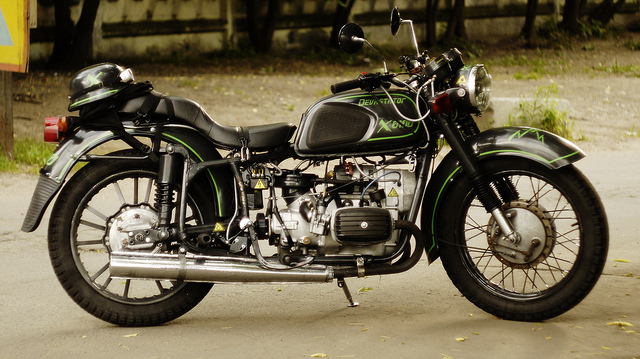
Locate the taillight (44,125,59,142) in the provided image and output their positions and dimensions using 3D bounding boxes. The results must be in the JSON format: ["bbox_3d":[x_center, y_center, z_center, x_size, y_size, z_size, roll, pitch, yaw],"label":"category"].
[{"bbox_3d":[-3.302,-0.565,9.507,0.195,0.207,0.096,-1,2,4],"label":"taillight"}]

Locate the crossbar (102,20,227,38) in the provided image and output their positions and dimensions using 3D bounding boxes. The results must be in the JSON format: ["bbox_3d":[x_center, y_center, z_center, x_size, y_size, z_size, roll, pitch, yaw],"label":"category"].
[{"bbox_3d":[-5.046,-4.826,24.168,5.099,0.721,0.503,-5,8,-28],"label":"crossbar"}]

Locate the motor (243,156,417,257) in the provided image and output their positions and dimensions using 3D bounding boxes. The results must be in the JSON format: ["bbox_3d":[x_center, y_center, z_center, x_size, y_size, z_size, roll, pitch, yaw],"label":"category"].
[{"bbox_3d":[-0.013,0.311,10.157,2.367,1.498,0.978,-1,4,-4],"label":"motor"}]

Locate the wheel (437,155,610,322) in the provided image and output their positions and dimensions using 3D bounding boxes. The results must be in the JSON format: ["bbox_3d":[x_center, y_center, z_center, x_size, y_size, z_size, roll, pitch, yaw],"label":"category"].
[{"bbox_3d":[2.500,0.799,9.721,2.030,2.015,0.352,2,11,17],"label":"wheel"}]
